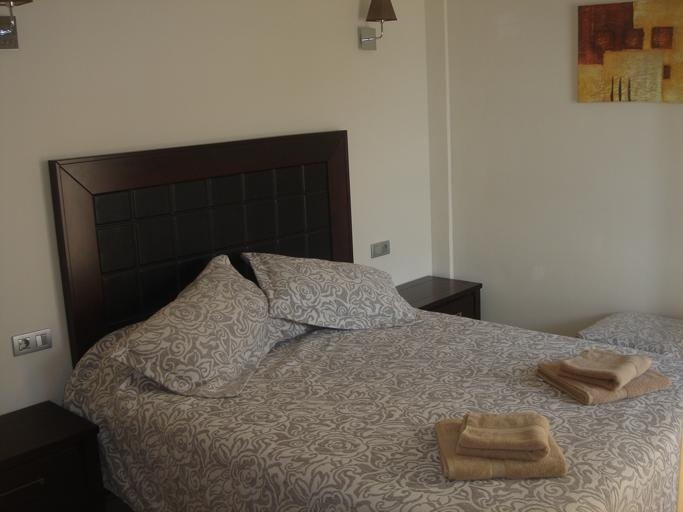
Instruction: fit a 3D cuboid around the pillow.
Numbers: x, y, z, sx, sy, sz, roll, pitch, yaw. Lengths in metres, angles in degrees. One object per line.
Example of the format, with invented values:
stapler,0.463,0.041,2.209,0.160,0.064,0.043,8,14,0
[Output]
pillow,-0.371,0.282,2.624,1.405,0.476,0.560,-12,12,-42
